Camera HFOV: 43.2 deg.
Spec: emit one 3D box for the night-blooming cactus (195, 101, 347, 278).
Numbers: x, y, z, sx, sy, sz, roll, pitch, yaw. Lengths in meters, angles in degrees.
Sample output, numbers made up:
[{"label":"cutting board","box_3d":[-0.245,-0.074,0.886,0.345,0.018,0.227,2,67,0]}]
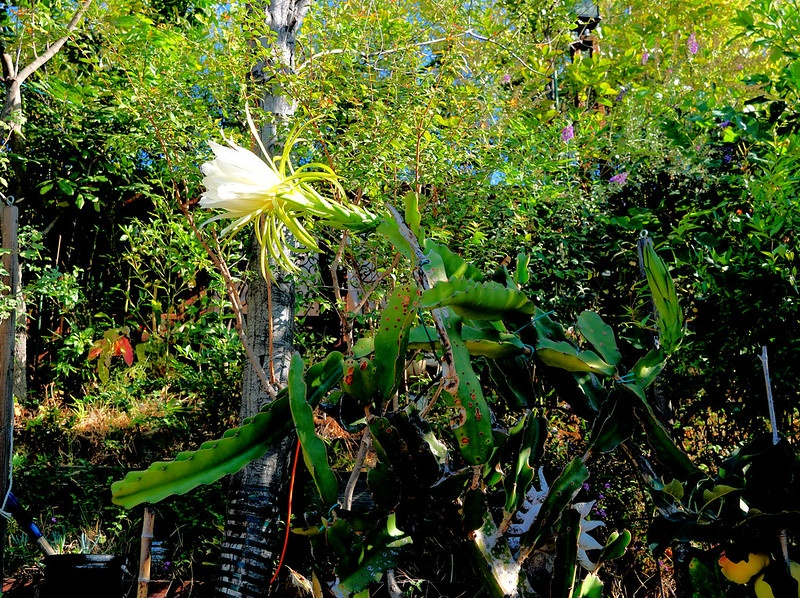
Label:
[{"label":"night-blooming cactus","box_3d":[-0.483,-0.411,4.128,0.601,0.605,0.509,0,-6,-1]}]
